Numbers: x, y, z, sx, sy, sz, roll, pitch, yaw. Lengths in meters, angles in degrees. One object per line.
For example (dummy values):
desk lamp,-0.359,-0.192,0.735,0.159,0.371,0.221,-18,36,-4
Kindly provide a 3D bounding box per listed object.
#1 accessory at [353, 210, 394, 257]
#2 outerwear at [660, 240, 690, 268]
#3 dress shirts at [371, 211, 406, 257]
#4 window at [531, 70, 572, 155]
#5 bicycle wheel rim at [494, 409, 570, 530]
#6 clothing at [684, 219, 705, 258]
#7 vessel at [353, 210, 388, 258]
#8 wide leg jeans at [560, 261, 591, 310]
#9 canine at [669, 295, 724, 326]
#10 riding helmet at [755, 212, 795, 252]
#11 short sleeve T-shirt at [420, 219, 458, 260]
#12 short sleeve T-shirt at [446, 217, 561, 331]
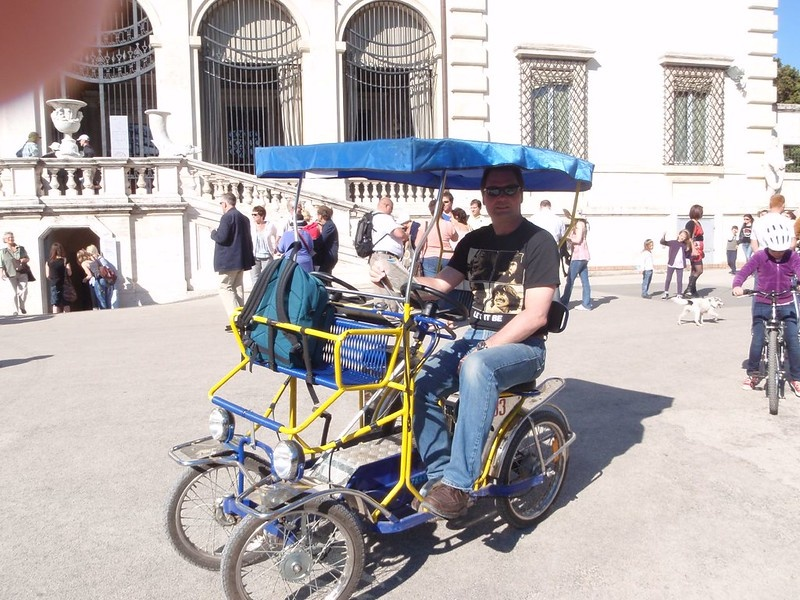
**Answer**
accessory,-0.440,-0.901,11.043,0.538,0.593,0.455,-1,4,-13
outerwear,5.924,-1.022,17.388,0.246,0.679,0.815,-6,9,-33
dress shirts,-0.211,-0.864,10.783,0.323,0.591,0.545,-15,19,-39
window,3.810,-5.051,22.474,1.129,1.881,1.290,6,3,37
bicycle wheel rim,0.966,1.268,6.124,0.644,0.762,0.239,-24,21,-34
clothing,6.167,-1.397,16.917,0.356,0.812,0.336,1,41,23
vessel,-0.372,-0.919,11.124,0.518,0.580,0.382,1,7,-1
wide leg jeans,3.169,-0.402,14.760,0.630,1.076,0.242,6,20,21
canine,4.959,0.127,13.469,0.726,0.586,1.196,5,15,21
riding helmet,4.130,-0.724,8.875,0.299,0.181,0.489,4,52,25
short sleeve T-shirt,0.587,-0.880,11.695,0.413,0.453,0.236,4,-9,3
short sleeve T-shirt,0.780,-0.156,6.357,1.010,0.957,0.371,1,-9,36
